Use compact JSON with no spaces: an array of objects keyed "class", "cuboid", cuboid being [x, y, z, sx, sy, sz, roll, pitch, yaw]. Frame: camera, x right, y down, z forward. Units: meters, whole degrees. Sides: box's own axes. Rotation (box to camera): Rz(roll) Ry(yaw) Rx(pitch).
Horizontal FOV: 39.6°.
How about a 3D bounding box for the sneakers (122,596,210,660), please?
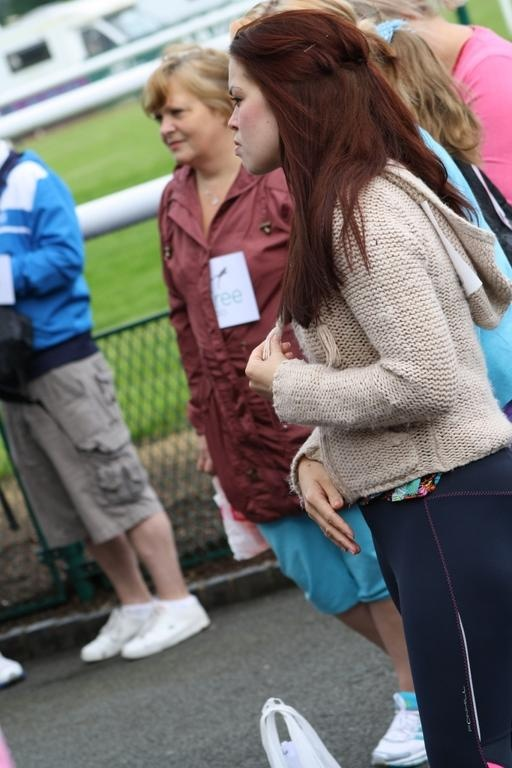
[{"class":"sneakers","cuboid":[-0.413,1.071,3.132,0.451,0.193,0.141,-16,-8,-31]}]
